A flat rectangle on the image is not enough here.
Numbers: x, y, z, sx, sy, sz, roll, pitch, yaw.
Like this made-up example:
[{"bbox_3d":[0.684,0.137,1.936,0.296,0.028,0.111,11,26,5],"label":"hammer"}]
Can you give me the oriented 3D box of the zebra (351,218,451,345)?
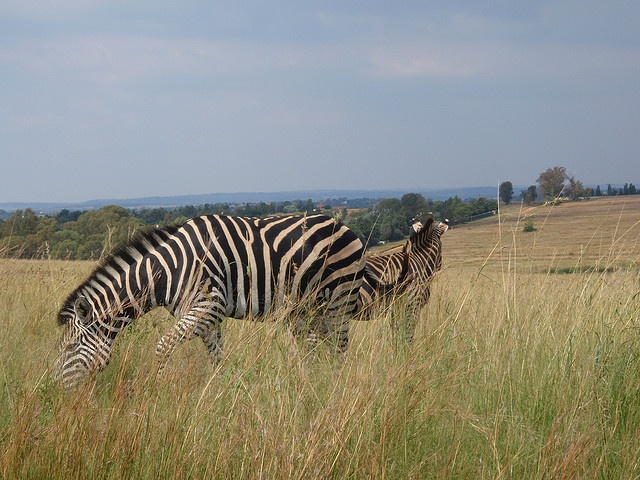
[{"bbox_3d":[0.960,0.606,9.023,0.553,1.689,2.109,10,9,29],"label":"zebra"}]
